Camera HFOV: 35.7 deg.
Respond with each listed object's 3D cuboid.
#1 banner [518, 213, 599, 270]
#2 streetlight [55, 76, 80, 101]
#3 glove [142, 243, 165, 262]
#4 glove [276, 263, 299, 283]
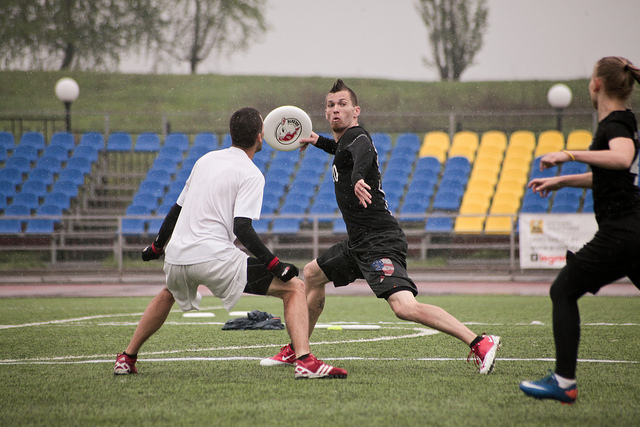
[{"bbox_3d":[5.993,0.724,25.125,0.099,1.477,2.428,0,-2,-41],"label":"banner"},{"bbox_3d":[-7.706,-3.757,30.230,0.632,0.674,0.343,2,2,-14],"label":"streetlight"},{"bbox_3d":[-3.220,0.771,19.187,0.405,0.167,0.278,-4,44,-14],"label":"glove"},{"bbox_3d":[-0.619,1.148,18.866,0.418,0.373,0.211,2,1,-4],"label":"glove"}]
